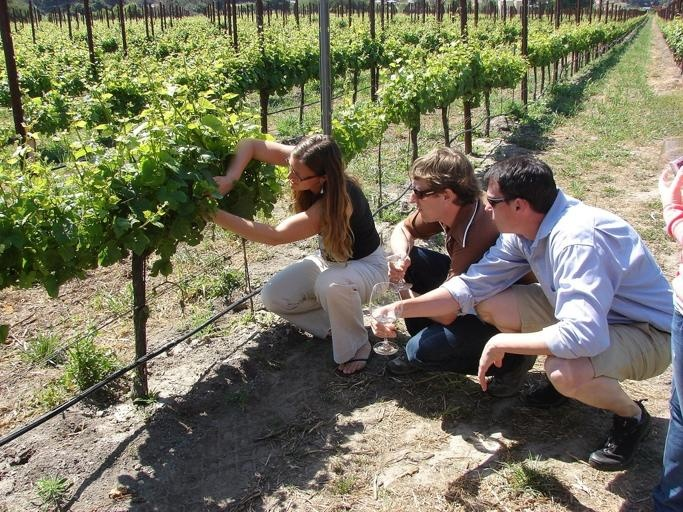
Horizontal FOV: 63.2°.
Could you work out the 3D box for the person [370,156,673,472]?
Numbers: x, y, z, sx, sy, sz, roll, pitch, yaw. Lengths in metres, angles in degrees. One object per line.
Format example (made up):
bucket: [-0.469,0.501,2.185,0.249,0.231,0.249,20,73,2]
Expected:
person: [1.321,0.298,3.467,1.391,1.742,0.721,9,22,24]

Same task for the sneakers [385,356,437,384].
sneakers: [0.475,0.858,4.219,0.272,0.092,0.226,5,0,-40]

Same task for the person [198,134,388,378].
person: [-0.220,-0.016,4.236,1.148,1.766,0.791,1,20,4]

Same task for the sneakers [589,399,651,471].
sneakers: [1.702,1.106,3.401,0.459,0.204,0.155,-39,37,-16]

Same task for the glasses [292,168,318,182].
glasses: [-0.276,-0.587,3.997,0.124,0.031,0.114,-6,26,-27]
